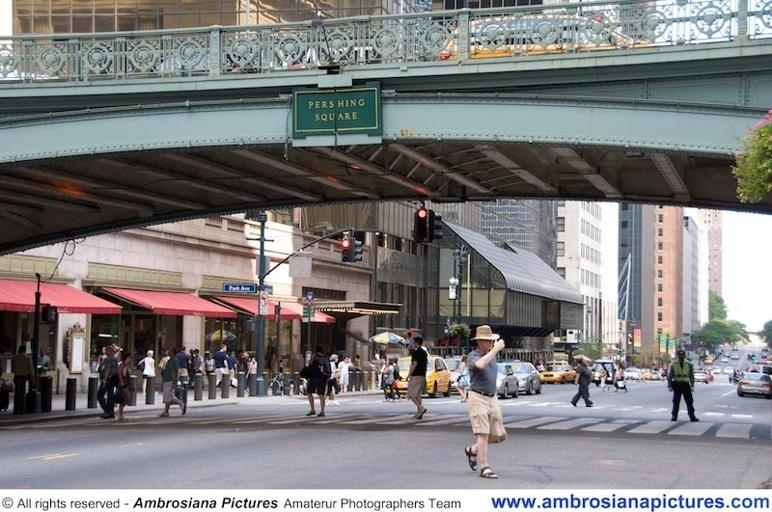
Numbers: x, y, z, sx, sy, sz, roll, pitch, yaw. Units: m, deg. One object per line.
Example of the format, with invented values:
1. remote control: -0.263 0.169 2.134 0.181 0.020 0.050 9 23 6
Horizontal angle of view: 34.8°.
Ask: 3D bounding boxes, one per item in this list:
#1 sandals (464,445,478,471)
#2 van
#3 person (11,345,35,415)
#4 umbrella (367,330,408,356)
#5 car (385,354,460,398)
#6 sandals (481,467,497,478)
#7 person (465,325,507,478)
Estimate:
1. sandals: 1.894 4.605 27.733 0.202 0.597 0.240 1 15 30
2. van: 4.361 -5.941 33.409 4.121 0.813 1.076 -1 8 32
3. person: -11.584 3.959 39.399 0.680 2.124 1.551 -2 -3 -16
4. umbrella: -0.119 4.845 64.029 2.002 1.407 2.000 2 8 18
5. car: 1.651 5.052 51.506 1.547 1.148 2.418 -3 -9 17
6. sandals: 2.221 4.804 27.161 0.187 0.149 0.361 1 -6 -22
7. person: 2.188 3.192 27.564 0.973 3.072 1.109 -3 0 32
